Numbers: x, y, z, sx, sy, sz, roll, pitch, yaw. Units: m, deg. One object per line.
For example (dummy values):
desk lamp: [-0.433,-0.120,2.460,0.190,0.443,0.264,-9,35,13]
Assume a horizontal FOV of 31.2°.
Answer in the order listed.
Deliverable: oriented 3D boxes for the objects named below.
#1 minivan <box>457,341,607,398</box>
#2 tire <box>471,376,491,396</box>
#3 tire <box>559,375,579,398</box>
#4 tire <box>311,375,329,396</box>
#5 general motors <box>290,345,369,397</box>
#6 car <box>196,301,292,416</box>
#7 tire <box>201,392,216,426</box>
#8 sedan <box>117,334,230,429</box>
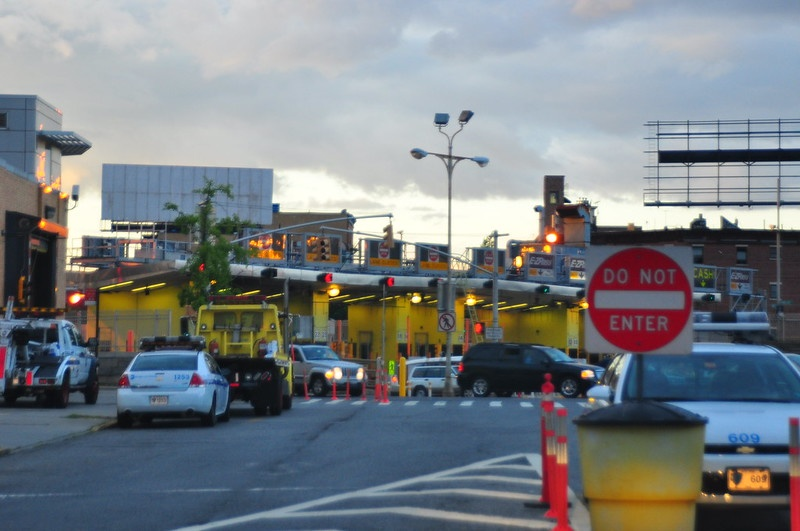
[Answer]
minivan: [4.739,3.708,51.463,4.834,1.786,2.219,-3,-3,16]
tire: [2.946,4.262,51.471,0.735,0.737,0.265,-1,-5,14]
tire: [5.996,4.183,50.372,0.758,0.763,0.277,2,6,23]
tire: [-2.925,4.341,53.045,0.746,0.753,0.274,4,8,44]
general motors: [-2.734,3.830,53.483,3.005,1.267,1.582,-6,-6,38]
car: [-4.703,2.328,42.638,2.512,2.530,4.927,-4,11,-3]
tire: [-4.874,3.587,36.410,0.312,0.879,0.884,-3,-4,11]
sedan: [-5.937,2.998,38.083,2.871,2.349,4.251,2,-2,-8]
